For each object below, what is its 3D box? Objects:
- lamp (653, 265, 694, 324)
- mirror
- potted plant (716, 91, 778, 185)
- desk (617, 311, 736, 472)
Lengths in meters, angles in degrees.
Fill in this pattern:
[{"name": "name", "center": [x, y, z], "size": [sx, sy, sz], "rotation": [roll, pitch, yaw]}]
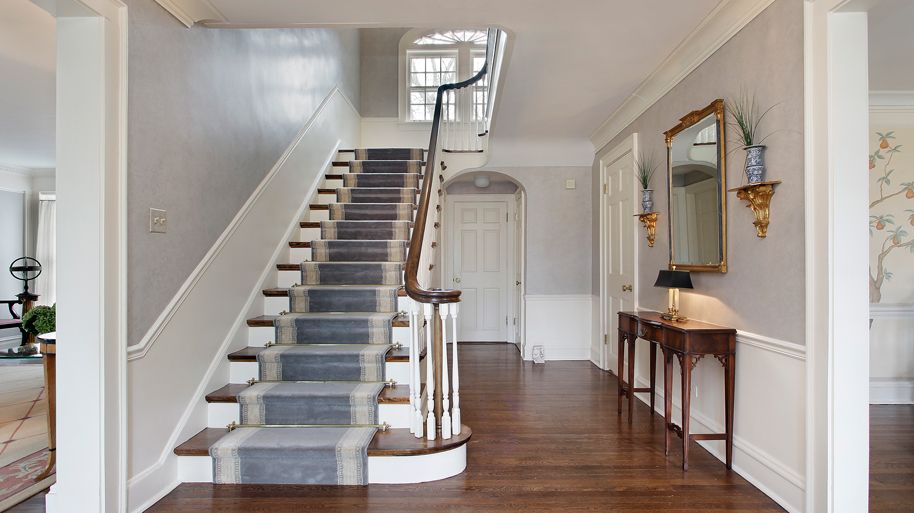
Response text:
[{"name": "lamp", "center": [2.254, 0.386, 6.962], "size": [0.415, 0.493, 0.383], "rotation": [4, -1, 0]}, {"name": "mirror", "center": [2.472, -0.690, 6.975], "size": [0.140, 1.717, 0.867], "rotation": [0, -1, -16]}, {"name": "potted plant", "center": [2.724, -1.106, 6.334], "size": [0.175, 0.889, 0.489], "rotation": [0, -1, -20]}, {"name": "desk", "center": [2.277, 1.307, 7.296], "size": [0.634, 1.303, 1.857], "rotation": [2, 2, -4]}]
